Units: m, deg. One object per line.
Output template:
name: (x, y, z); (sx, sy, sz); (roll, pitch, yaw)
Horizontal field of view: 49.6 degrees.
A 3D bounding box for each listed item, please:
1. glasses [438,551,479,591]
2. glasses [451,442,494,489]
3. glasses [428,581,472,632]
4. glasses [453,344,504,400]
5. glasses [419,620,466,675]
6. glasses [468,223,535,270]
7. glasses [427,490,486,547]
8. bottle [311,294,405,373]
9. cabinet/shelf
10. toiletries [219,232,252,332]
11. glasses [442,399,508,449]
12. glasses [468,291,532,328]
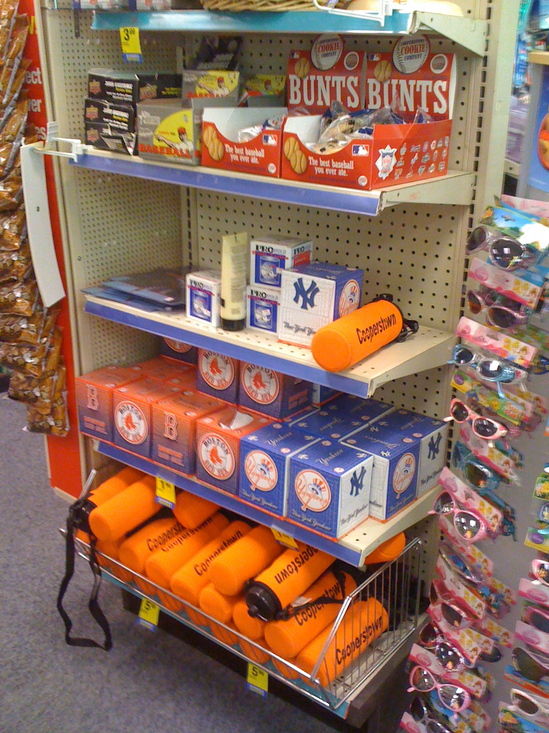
glasses: (0.392, 0.427, 1.279); (0.016, 0.049, 0.121); (-8, 27, -25)
glasses: (0.400, 0.208, 1.210); (0.073, 0.029, 0.072); (1, 32, -41)
glasses: (0.376, 0.528, 1.297); (0.069, 0.022, 0.069); (10, 24, -42)
glasses: (0.388, 0.010, 1.142); (0.087, 0.029, 0.084); (13, 10, -39)
glasses: (0.370, 0.630, 1.325); (0.027, 0.062, 0.088); (4, 41, -26)
glasses: (0.421, -0.215, 1.061); (0.136, 0.048, 0.120); (-16, 32, -32)
glasses: (0.371, 0.305, 1.198); (0.107, 0.035, 0.102); (5, 21, -35)
bottle: (0.171, -0.065, 1.288); (0.113, 0.111, 0.382); (9, 17, 27)
cabinet/shelf: (-0.121, -0.023, 1.704); (1.293, 1.788, 0.624); (23, 31, 37)
toiletries: (-0.107, -0.216, 1.532); (0.068, 0.239, 0.121); (1, 24, -6)
glasses: (0.385, 0.113, 1.135); (0.066, 0.068, 0.130); (-19, 33, -41)
glasses: (0.425, -0.098, 1.098); (0.073, 0.023, 0.070); (-13, 26, -33)
